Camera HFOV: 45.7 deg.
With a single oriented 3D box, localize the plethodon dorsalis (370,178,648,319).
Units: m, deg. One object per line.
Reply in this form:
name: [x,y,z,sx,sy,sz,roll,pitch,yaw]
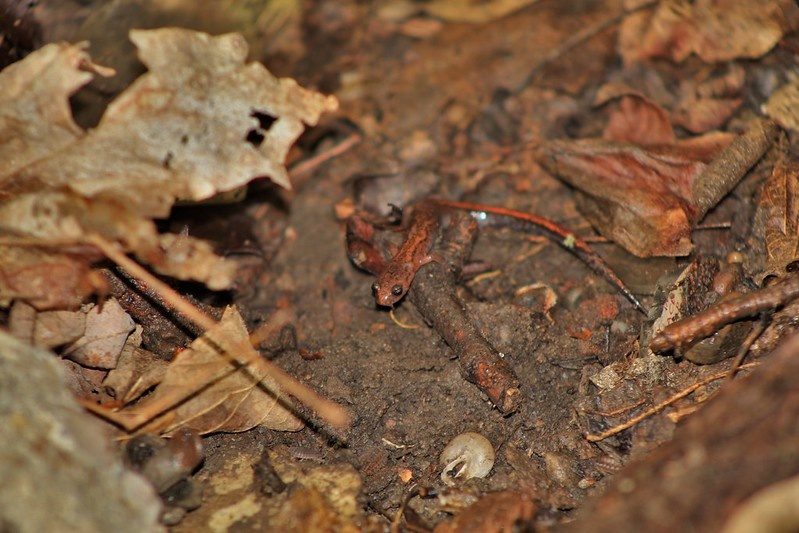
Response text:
plethodon dorsalis: [0.647,-0.220,7.441,1.772,0.467,0.893,-11,70,4]
